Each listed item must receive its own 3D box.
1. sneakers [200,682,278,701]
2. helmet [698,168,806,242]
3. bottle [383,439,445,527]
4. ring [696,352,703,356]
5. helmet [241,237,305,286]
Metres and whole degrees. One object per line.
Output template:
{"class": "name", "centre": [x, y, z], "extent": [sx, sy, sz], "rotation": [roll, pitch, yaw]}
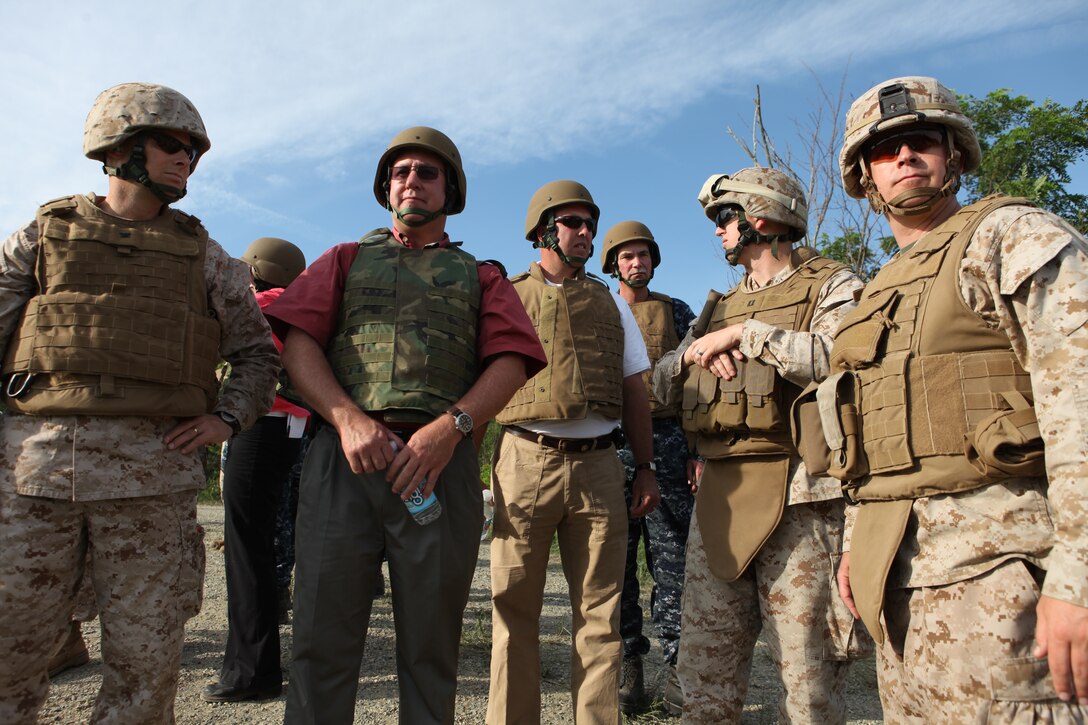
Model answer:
{"class": "sneakers", "centre": [-1.747, 1.892, 5.592], "extent": [0.373, 0.154, 0.140], "rotation": [8, -15, -9]}
{"class": "helmet", "centre": [1.135, -0.856, 5.319], "extent": [0.617, 0.348, 0.484], "rotation": [7, -9, -5]}
{"class": "bottle", "centre": [-0.605, 0.578, 4.487], "extent": [0.136, 0.421, 0.053], "rotation": [-30, -45, -10]}
{"class": "ring", "centre": [0.789, -0.038, 4.918], "extent": [0.018, 0.018, 0.005], "rotation": [6, -4, 35]}
{"class": "helmet", "centre": [-1.861, -0.734, 6.962], "extent": [0.449, 0.360, 0.341], "rotation": [3, 7, 14]}
